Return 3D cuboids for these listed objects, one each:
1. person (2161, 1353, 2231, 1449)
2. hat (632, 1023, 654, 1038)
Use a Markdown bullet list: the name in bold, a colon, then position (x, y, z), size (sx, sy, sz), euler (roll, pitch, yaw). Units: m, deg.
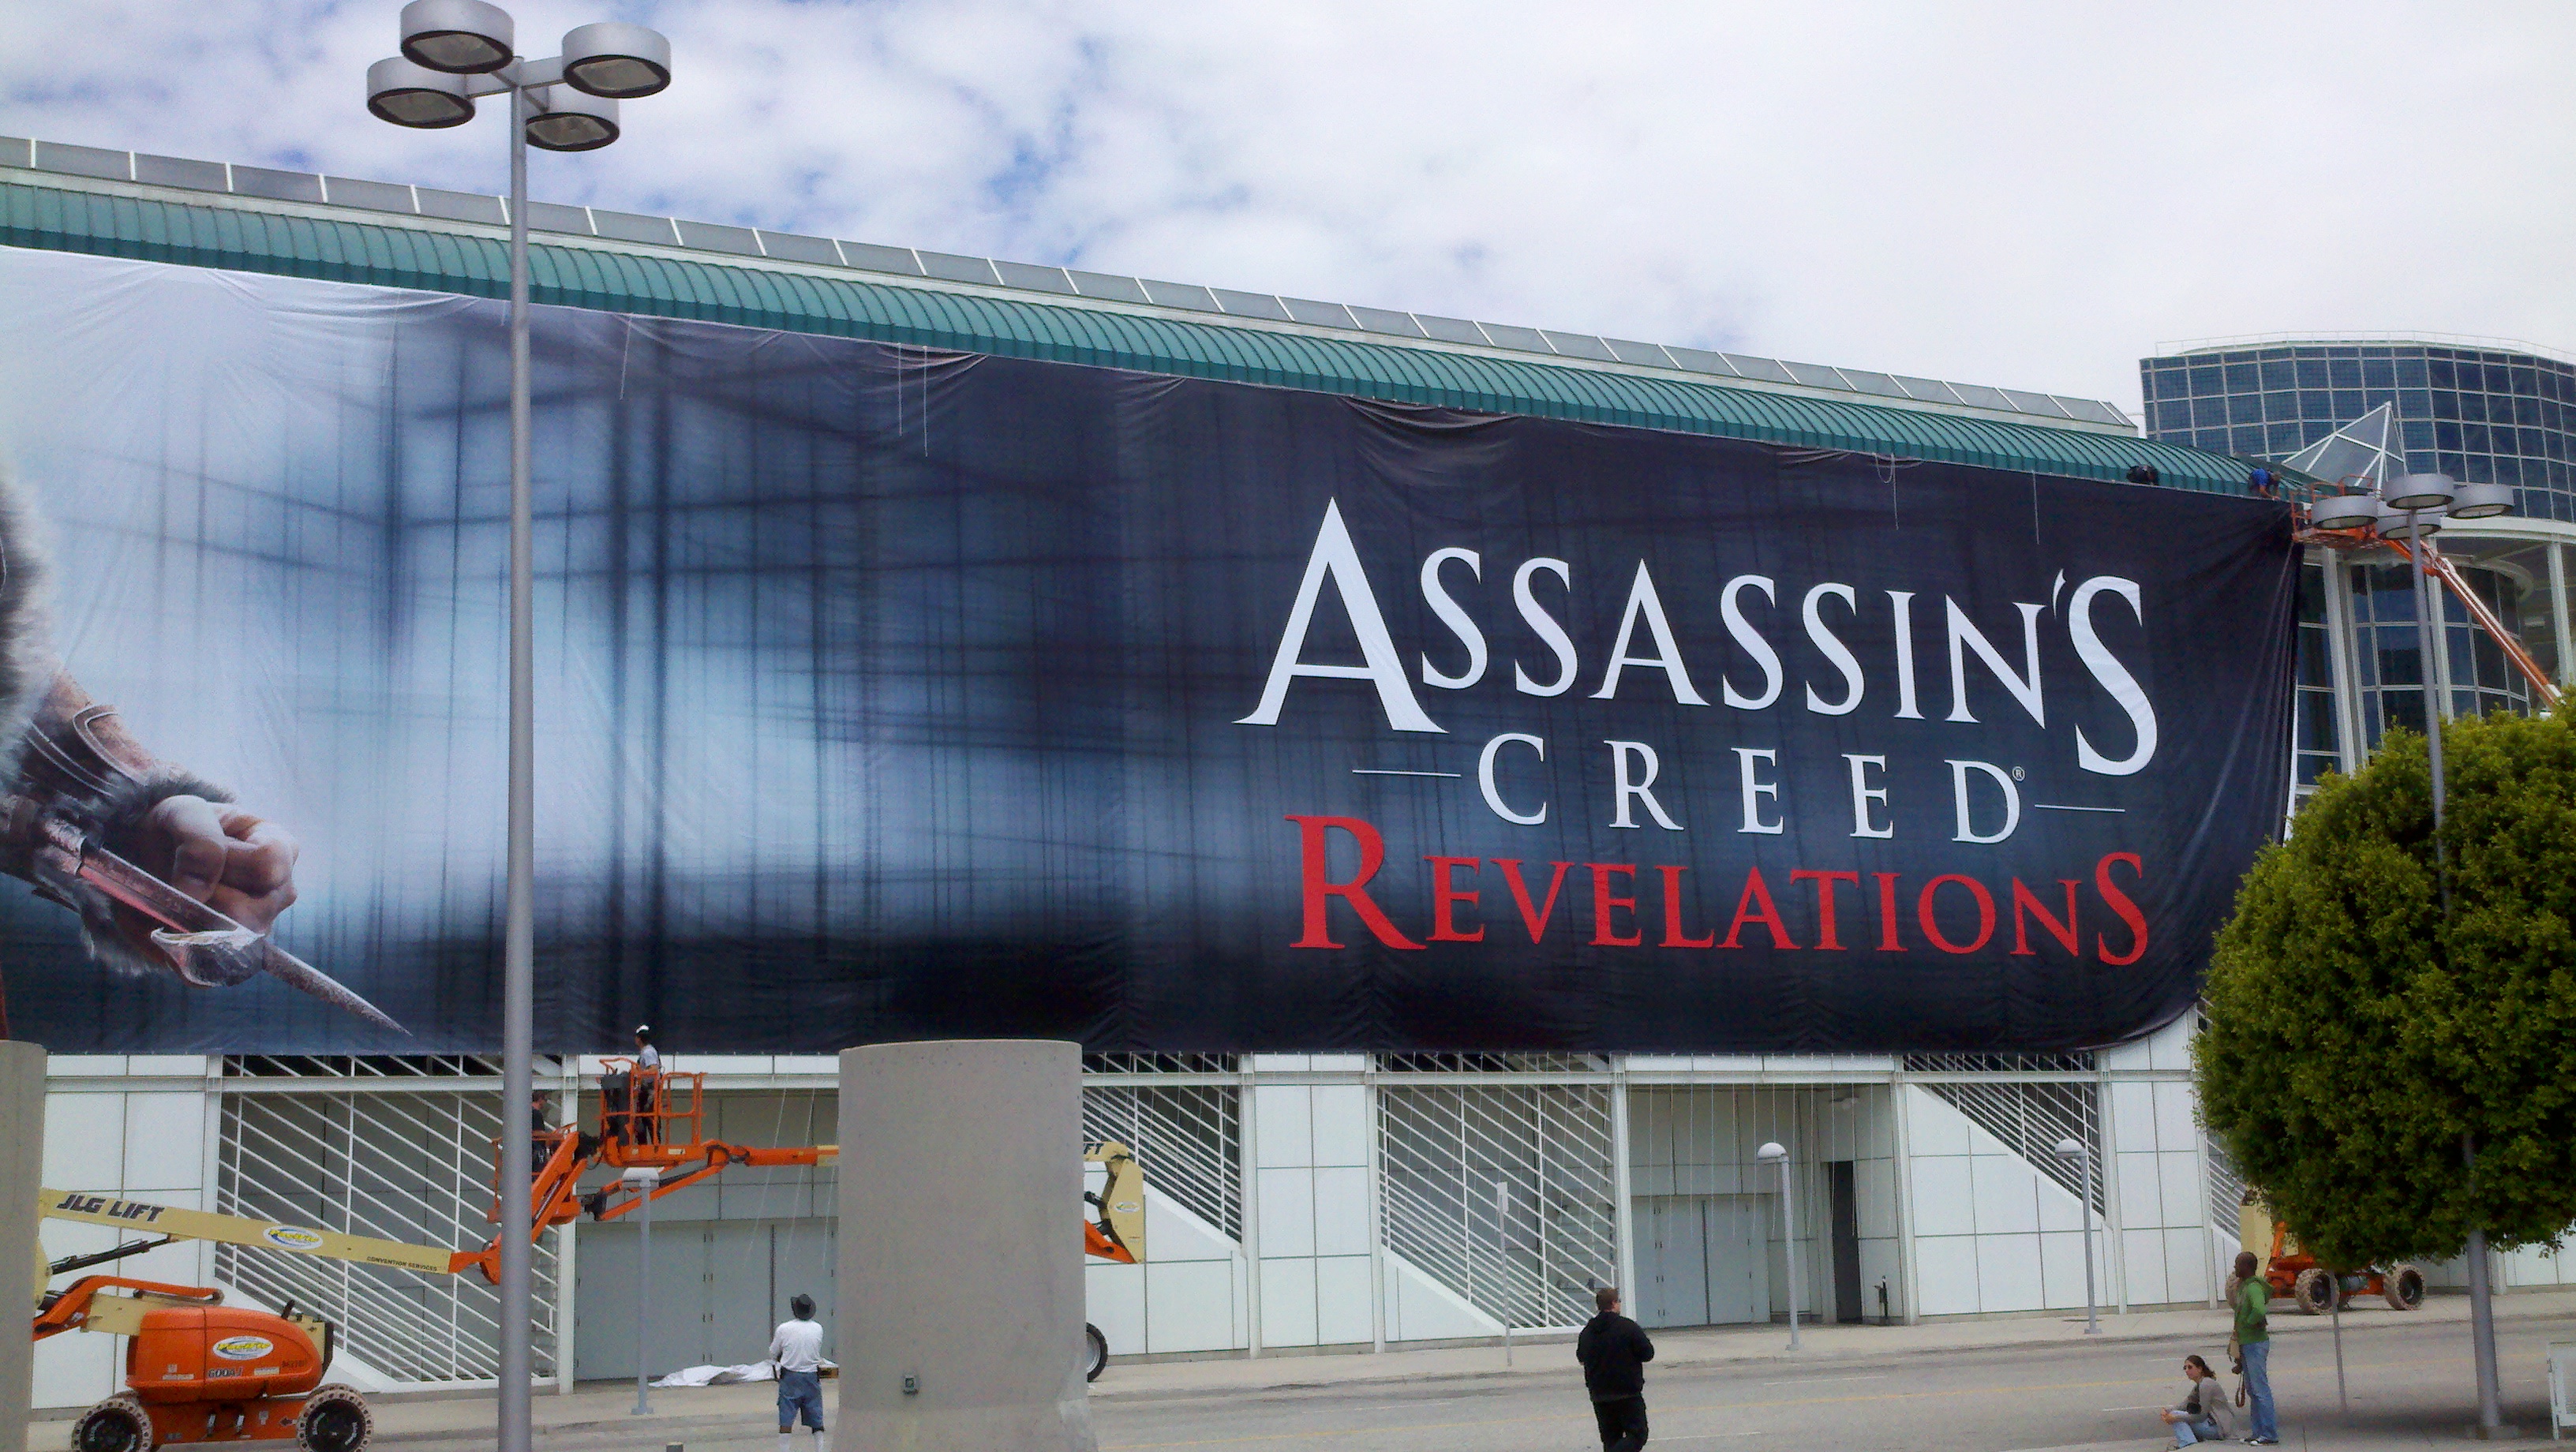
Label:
- **person**: position (16.907, 12.411, 68.673), size (1.072, 1.645, 1.369), euler (-8, -15, 12)
- **hat**: position (-13.385, 6.350, 76.822), size (0.527, 0.408, 0.491), euler (0, -6, -8)
